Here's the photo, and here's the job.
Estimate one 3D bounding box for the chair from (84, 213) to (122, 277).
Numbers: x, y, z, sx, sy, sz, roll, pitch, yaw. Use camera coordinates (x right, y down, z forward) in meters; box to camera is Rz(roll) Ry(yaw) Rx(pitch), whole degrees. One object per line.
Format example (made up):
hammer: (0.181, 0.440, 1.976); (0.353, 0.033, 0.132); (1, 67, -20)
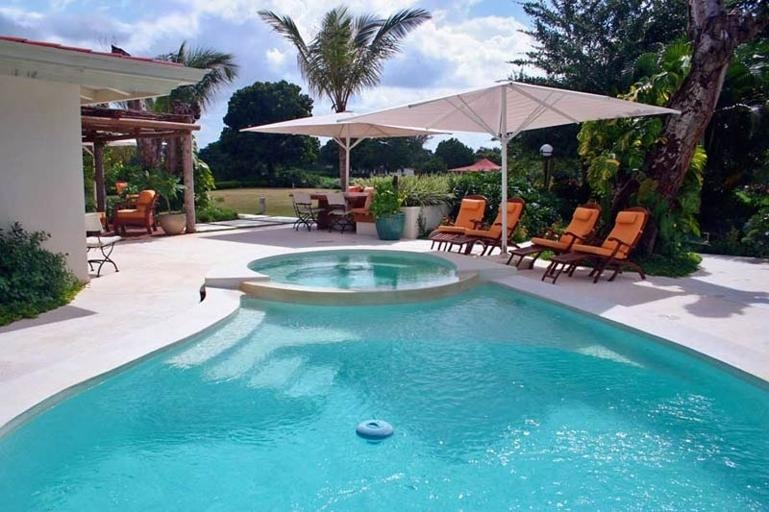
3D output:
chair: (-6.405, -0.299, 10.414); (0.787, 1.239, 0.900); (5, 3, 5)

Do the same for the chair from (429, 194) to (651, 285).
chair: (4.189, -0.346, 10.445); (2.939, 1.545, 2.238); (8, 12, 27)
